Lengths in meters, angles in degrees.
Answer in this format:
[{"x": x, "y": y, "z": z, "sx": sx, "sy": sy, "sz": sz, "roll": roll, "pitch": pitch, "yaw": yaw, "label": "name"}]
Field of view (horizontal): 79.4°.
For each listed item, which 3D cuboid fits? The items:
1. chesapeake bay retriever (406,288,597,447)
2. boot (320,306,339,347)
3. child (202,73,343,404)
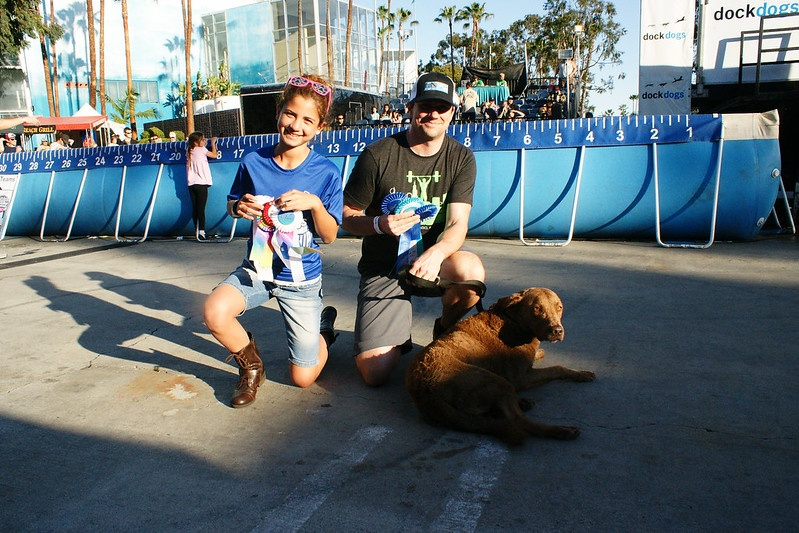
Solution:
[{"x": 0.709, "y": 0.666, "z": 3.103, "sx": 1.074, "sy": 0.544, "sz": 0.811, "roll": -20, "pitch": 14, "yaw": -31, "label": "chesapeake bay retriever"}, {"x": -0.599, "y": 0.509, "z": 4.095, "sx": 0.110, "sy": 0.151, "sz": 0.362, "roll": 4, "pitch": 37, "yaw": -4, "label": "boot"}, {"x": -0.884, "y": -0.222, "z": 3.499, "sx": 1.007, "sy": 2.268, "sz": 0.611, "roll": -6, "pitch": 13, "yaw": -18, "label": "child"}]
